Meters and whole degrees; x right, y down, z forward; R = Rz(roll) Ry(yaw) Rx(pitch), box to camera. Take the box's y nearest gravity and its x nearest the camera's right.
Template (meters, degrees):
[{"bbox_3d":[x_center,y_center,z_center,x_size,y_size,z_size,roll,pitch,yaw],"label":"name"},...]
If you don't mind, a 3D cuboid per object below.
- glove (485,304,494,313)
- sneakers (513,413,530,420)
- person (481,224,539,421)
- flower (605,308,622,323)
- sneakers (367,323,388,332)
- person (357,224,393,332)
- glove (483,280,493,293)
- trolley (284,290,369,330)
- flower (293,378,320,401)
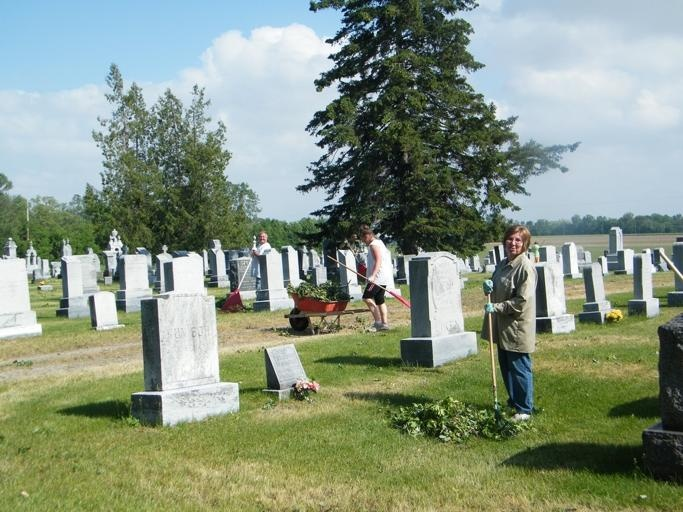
[{"bbox_3d":[2.100,0.737,11.337,0.104,0.149,0.195,2,10,30],"label":"glove"},{"bbox_3d":[2.563,2.283,11.377,0.099,0.064,0.167,3,2,35],"label":"sneakers"},{"bbox_3d":[2.429,0.939,11.535,0.716,2.696,0.867,-1,8,13],"label":"person"},{"bbox_3d":[6.189,1.366,18.200,0.280,0.269,0.317,1,-1,16],"label":"flower"},{"bbox_3d":[0.825,1.586,17.826,0.469,0.248,0.179,2,-2,10],"label":"sneakers"},{"bbox_3d":[0.757,0.510,17.417,0.573,2.370,1.110,-2,8,3],"label":"person"},{"bbox_3d":[2.105,0.443,11.455,0.139,0.195,0.191,4,6,33],"label":"glove"},{"bbox_3d":[-0.473,1.298,19.127,1.758,0.710,0.929,-3,-3,33],"label":"trolley"},{"bbox_3d":[-0.566,2.126,12.808,0.429,0.269,0.413,-4,9,-7],"label":"flower"}]
